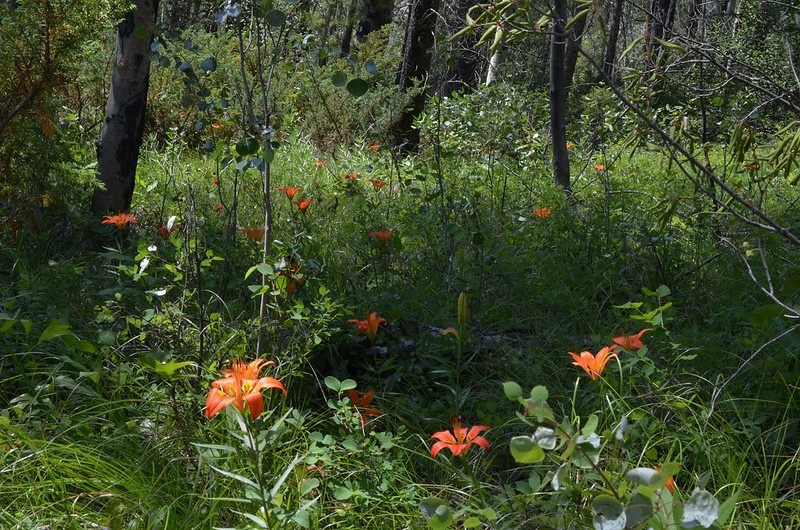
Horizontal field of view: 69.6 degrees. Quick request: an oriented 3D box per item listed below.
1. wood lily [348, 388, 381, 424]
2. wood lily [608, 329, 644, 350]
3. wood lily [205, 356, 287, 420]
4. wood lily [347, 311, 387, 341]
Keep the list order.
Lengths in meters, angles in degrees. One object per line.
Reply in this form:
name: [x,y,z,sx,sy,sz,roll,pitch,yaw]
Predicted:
wood lily: [-0.186,0.656,2.797,0.172,0.185,0.068,8,-2,-31]
wood lily: [1.180,0.385,2.998,0.106,0.061,0.118,-18,-6,5]
wood lily: [-0.595,0.491,2.221,0.270,0.239,0.279,1,18,-11]
wood lily: [-0.171,0.358,3.031,0.162,0.151,0.199,-5,-10,-2]
